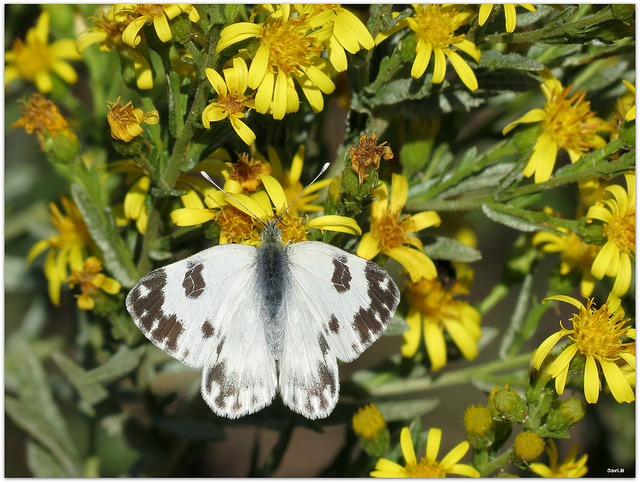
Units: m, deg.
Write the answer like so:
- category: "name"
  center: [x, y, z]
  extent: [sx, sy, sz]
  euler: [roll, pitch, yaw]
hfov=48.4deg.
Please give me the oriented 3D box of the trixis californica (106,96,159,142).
- category: "trixis californica"
  center: [-0.617, -0.407, 2.389]
  extent: [0.080, 0.158, 0.161]
  euler: [5, 34, 12]

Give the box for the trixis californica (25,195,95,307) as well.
- category: "trixis californica"
  center: [-1.015, 0.064, 2.822]
  extent: [0.343, 0.139, 0.415]
  euler: [12, 83, -13]

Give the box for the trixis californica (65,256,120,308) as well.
- category: "trixis californica"
  center: [-0.849, 0.170, 2.677]
  extent: [0.137, 0.157, 0.217]
  euler: [-29, 58, -33]

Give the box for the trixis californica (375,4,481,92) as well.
- category: "trixis californica"
  center: [0.407, -0.688, 2.435]
  extent: [0.268, 0.116, 0.360]
  euler: [1, 79, -15]

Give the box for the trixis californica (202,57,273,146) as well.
- category: "trixis californica"
  center: [-0.299, -0.435, 2.310]
  extent: [0.266, 0.076, 0.281]
  euler: [31, 32, -51]

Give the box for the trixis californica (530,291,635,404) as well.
- category: "trixis californica"
  center: [0.960, 0.378, 2.539]
  extent: [0.358, 0.220, 0.399]
  euler: [13, 59, -8]

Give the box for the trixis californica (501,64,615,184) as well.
- category: "trixis californica"
  center: [0.871, -0.436, 2.583]
  extent: [0.459, 0.220, 0.291]
  euler: [-31, 58, -33]

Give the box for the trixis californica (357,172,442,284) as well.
- category: "trixis californica"
  center: [0.311, -0.026, 2.591]
  extent: [0.294, 0.302, 0.343]
  euler: [20, 46, 9]

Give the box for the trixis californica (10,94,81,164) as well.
- category: "trixis californica"
  center: [-0.974, -0.423, 2.555]
  extent: [0.165, 0.237, 0.080]
  euler: [-5, 80, -19]

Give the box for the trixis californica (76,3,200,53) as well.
- category: "trixis californica"
  center: [-0.606, -0.733, 2.429]
  extent: [0.119, 0.295, 0.230]
  euler: [62, 31, -12]
